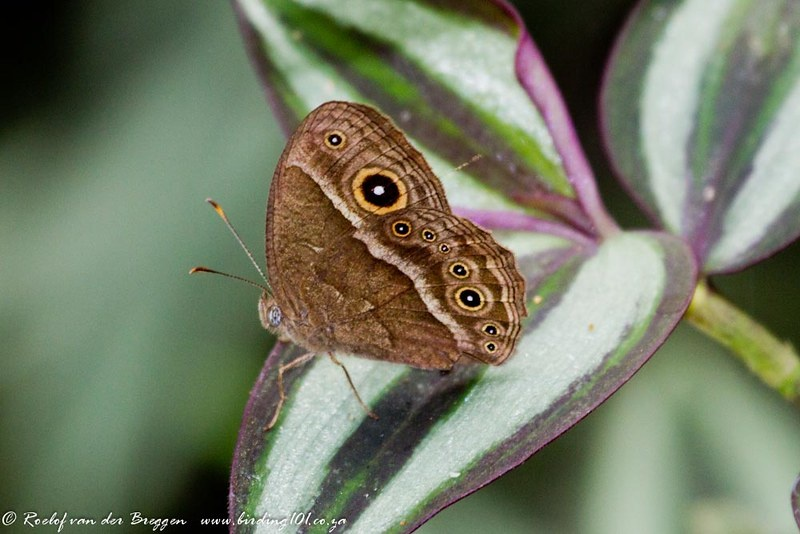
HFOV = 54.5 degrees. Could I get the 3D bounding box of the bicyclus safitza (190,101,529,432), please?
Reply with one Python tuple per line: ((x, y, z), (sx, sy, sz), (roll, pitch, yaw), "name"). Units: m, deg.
((-0.016, 0.018, 1.287), (0.451, 0.426, 0.176), (13, 5, -5), "bicyclus safitza")
